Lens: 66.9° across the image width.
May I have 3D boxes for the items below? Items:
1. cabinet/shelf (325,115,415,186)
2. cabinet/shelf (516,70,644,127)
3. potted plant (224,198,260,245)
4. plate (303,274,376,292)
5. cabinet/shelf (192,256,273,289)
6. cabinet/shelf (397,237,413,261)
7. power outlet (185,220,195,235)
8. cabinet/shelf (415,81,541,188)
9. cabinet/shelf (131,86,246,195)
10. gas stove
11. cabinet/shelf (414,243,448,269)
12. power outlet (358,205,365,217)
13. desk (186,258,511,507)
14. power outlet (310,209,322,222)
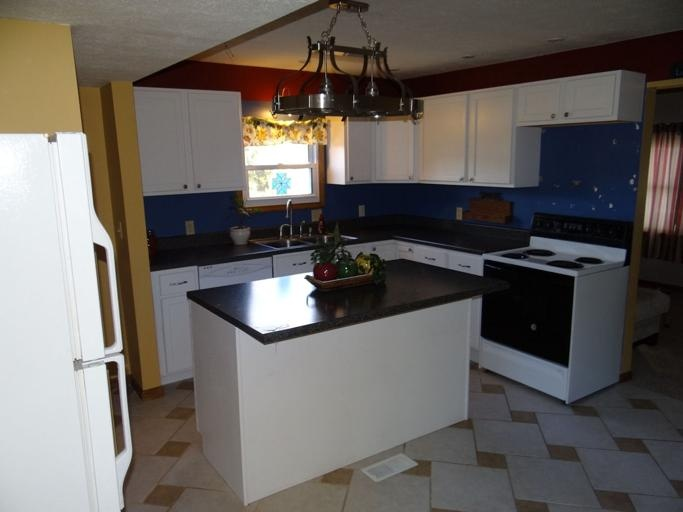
[{"bbox_3d":[0.350,-1.129,5.755,0.982,0.924,0.686,-2,6,-27],"label":"cabinet/shelf"},{"bbox_3d":[1.957,-1.290,4.311,0.982,0.380,0.356,8,16,41],"label":"cabinet/shelf"},{"bbox_3d":[-1.011,-0.361,5.167,0.238,0.465,0.353,-4,13,-9],"label":"potted plant"},{"bbox_3d":[0.002,0.177,3.572,0.292,0.063,0.188,-5,9,-24],"label":"plate"},{"bbox_3d":[-0.939,0.141,4.599,0.506,0.332,0.269,-10,16,-37],"label":"cabinet/shelf"},{"bbox_3d":[0.668,-0.081,5.314,0.111,0.208,0.217,-8,15,-35],"label":"cabinet/shelf"},{"bbox_3d":[-1.469,-0.284,4.995,0.131,0.183,0.018,-6,7,-42],"label":"power outlet"},{"bbox_3d":[1.362,-1.164,4.960,0.389,0.823,1.092,-7,10,-38],"label":"cabinet/shelf"},{"bbox_3d":[-1.361,-1.010,4.487,0.983,0.864,0.384,-6,11,-36],"label":"cabinet/shelf"},{"bbox_3d":[1.834,-0.111,4.414,0.800,0.391,0.990,-3,10,-25],"label":"gas stove"},{"bbox_3d":[0.892,-0.011,5.131,0.195,0.157,0.321,-11,15,-37],"label":"cabinet/shelf"},{"bbox_3d":[0.241,-0.541,6.127,0.125,0.149,0.019,-6,8,-43],"label":"power outlet"},{"bbox_3d":[-0.193,0.564,3.632,2.353,1.391,1.271,-7,15,-30],"label":"desk"},{"bbox_3d":[-0.267,-0.461,5.765,0.156,0.143,0.052,-14,17,-41],"label":"power outlet"}]
